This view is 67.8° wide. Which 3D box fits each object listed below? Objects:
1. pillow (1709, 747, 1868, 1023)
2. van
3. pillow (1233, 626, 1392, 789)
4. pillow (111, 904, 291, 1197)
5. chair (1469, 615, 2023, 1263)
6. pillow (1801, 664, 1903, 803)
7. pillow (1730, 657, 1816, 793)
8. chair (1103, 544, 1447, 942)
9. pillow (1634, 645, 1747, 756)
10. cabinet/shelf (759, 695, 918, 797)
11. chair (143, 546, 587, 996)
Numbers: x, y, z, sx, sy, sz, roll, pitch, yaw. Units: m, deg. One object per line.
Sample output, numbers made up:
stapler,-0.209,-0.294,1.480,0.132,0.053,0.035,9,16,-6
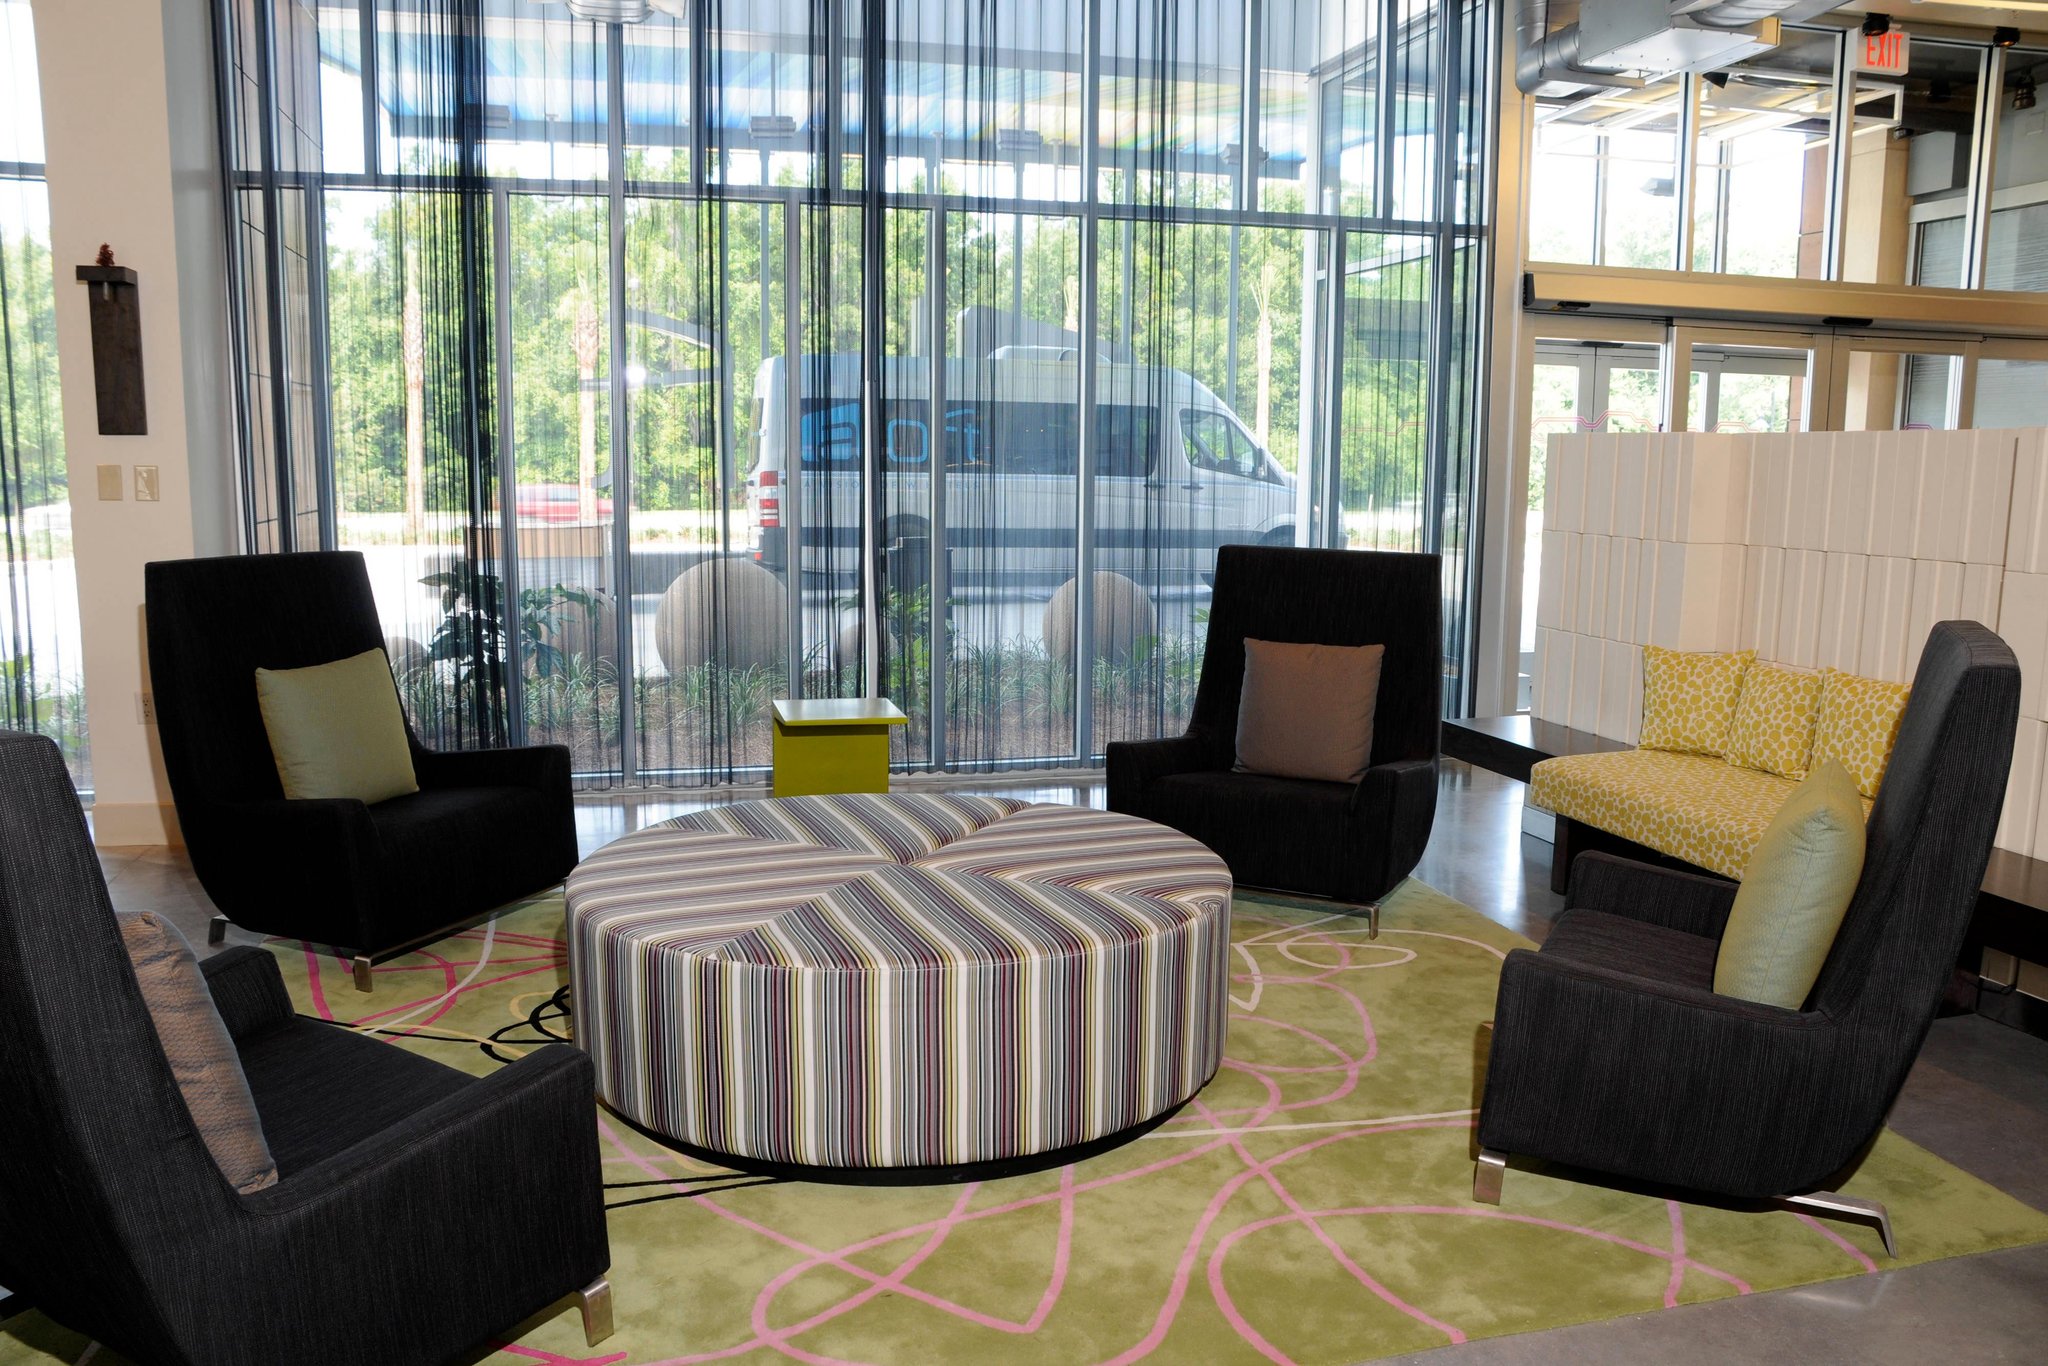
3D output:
pillow,2.178,0.526,4.300,0.317,0.595,0.880,6,16,29
van,0.215,-1.051,8.294,3.104,1.376,1.027,1,0,-4
pillow,1.120,0.101,6.025,0.537,0.475,0.365,3,14,14
pillow,-1.702,0.694,3.146,0.159,0.524,0.492,-27,43,-21
chair,1.954,0.583,4.357,1.512,1.484,1.336,-2,13,-1
pillow,2.757,0.172,5.058,0.161,0.390,0.392,11,3,-19
pillow,2.937,0.136,5.832,0.164,0.369,0.380,7,-4,-23
chair,1.072,0.148,5.980,1.193,1.189,1.113,8,10,44
pillow,2.702,0.073,6.127,0.134,0.375,0.379,12,3,-41
cabinet/shelf,-0.916,0.269,6.502,0.677,0.328,0.673,7,8,27
chair,-2.422,0.208,6.193,1.602,2.041,1.521,1,5,23
